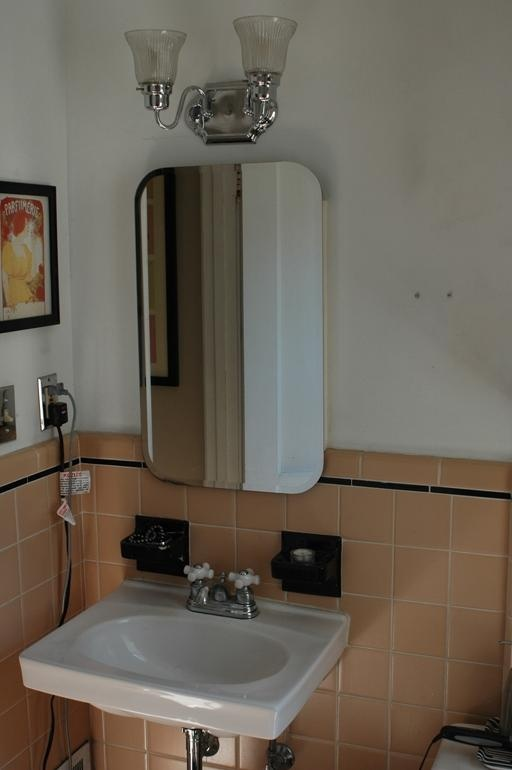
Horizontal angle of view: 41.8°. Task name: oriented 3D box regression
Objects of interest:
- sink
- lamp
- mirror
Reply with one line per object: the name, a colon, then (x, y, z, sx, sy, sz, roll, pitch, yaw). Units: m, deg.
sink: (-0.140, 0.564, 1.391, 0.570, 0.121, 0.463, 1, 5, 23)
lamp: (-0.075, -0.575, 1.299, 0.323, 0.176, 0.167, 4, 10, 17)
mirror: (-0.063, -0.118, 1.477, 0.433, 0.709, 0.055, 1, 5, 21)
